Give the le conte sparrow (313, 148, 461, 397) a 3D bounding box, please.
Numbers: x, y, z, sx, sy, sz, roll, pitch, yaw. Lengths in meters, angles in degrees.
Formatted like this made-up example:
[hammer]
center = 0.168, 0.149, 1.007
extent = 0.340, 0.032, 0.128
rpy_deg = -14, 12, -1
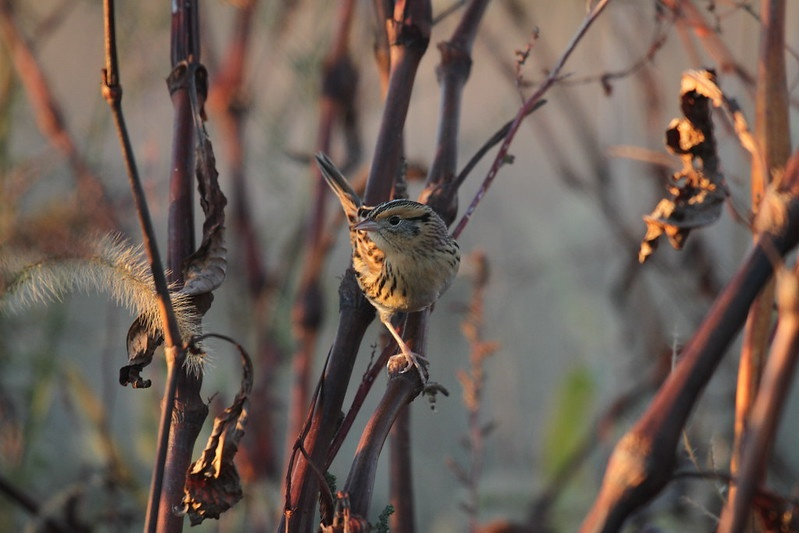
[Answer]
[le conte sparrow]
center = -0.004, -0.011, 2.955
extent = 0.164, 0.484, 0.388
rpy_deg = -7, -65, -10
